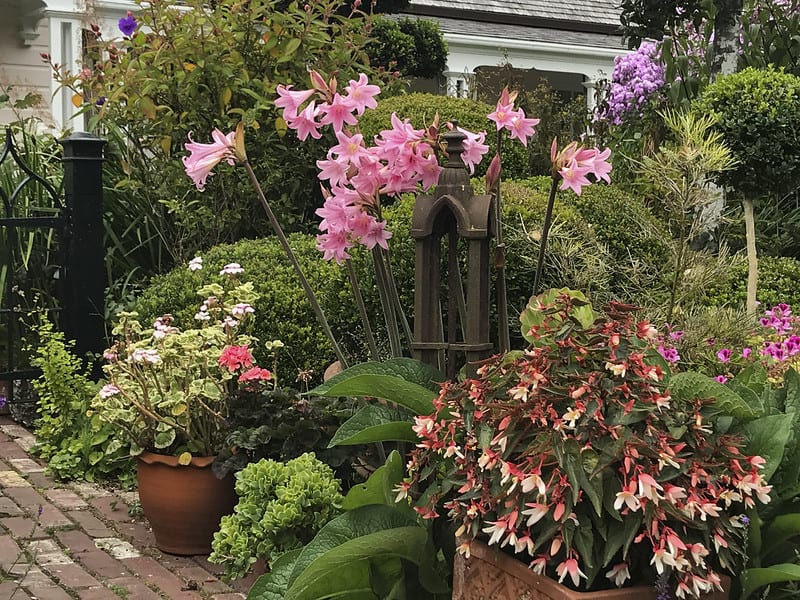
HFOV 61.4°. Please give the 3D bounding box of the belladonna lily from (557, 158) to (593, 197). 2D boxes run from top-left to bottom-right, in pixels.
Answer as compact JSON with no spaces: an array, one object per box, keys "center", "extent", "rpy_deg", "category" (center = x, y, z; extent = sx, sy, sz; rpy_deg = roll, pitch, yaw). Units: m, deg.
[{"center":[0.607,-0.428,2.405],"extent":[0.130,0.120,0.035],"rpy_deg":[39,-1,-36],"category":"belladonna lily"}]
